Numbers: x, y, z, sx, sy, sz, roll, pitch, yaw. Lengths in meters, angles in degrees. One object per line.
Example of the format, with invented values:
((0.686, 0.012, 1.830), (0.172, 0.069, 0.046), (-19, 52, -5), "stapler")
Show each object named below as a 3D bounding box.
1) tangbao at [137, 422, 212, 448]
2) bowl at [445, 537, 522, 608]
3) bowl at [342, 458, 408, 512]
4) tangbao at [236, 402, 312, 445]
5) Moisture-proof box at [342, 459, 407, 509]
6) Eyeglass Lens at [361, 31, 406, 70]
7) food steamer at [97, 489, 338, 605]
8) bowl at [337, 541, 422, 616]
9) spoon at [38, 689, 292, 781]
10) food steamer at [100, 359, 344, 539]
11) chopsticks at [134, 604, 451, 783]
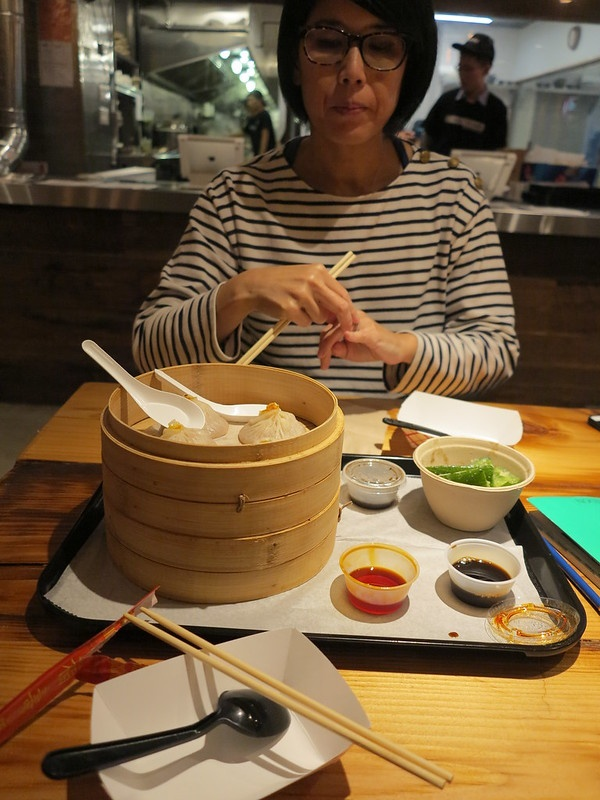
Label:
((-0.188, 0.044, 1.039), (0.083, 0.013, 0.055), (16, 14, 37), "tangbao")
((0.244, 0.253, 0.986), (0.122, 0.054, 0.115), (-6, 23, 2), "bowl")
((0.129, 0.158, 1.219), (0.087, 0.034, 0.084), (-4, 10, 1), "bowl")
((-0.043, 0.028, 1.050), (0.079, 0.037, 0.073), (-1, 6, -5), "tangbao")
((0.126, 0.159, 1.221), (0.094, 0.036, 0.091), (6, 8, 17), "Moisture-proof box")
((0.198, -0.799, 1.619), (0.146, 0.087, 0.047), (-17, 30, -41), "Eyeglass Lens")
((-0.115, 0.203, 1.043), (0.308, 0.080, 0.295), (-6, -13, 27), "food steamer")
((0.096, 0.254, 0.950), (0.106, 0.044, 0.103), (9, 7, -1), "bowl")
((-0.126, 0.324, 0.676), (0.233, 0.021, 0.080), (-1, 18, -43), "spoon")
((-0.112, 0.063, 1.023), (0.372, 0.122, 0.334), (-6, 25, -10), "food steamer")
((-0.009, 0.324, 0.760), (0.354, 0.012, 0.037), (20, 13, 20), "chopsticks")
